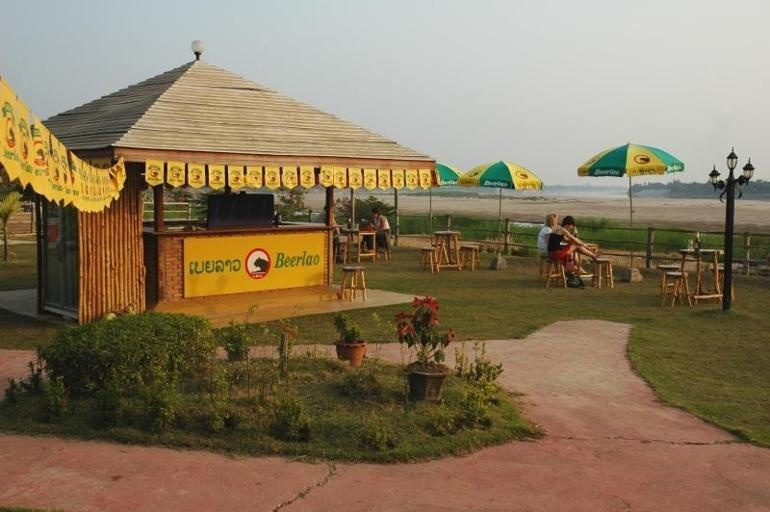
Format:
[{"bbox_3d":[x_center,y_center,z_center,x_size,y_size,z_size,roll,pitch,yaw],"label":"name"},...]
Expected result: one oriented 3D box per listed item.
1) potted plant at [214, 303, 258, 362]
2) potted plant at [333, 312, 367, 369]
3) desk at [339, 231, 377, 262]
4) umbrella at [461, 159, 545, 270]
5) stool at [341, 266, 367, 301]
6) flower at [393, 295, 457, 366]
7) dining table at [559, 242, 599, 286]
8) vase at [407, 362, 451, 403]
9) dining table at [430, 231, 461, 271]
[{"bbox_3d":[-2.656,1.436,16.633,0.526,0.976,0.432,16,-10,-36],"label":"potted plant"},{"bbox_3d":[-0.680,1.527,16.800,0.743,1.195,0.755,2,-6,-14],"label":"potted plant"},{"bbox_3d":[-0.881,0.019,30.658,0.827,1.119,1.629,-2,7,-17],"label":"desk"},{"bbox_3d":[4.063,-1.515,31.235,3.142,3.088,3.426,-1,5,-6],"label":"umbrella"},{"bbox_3d":[-0.731,0.679,22.881,0.558,0.691,0.598,2,-3,-26],"label":"stool"},{"bbox_3d":[0.718,1.303,15.788,0.789,1.184,1.044,0,7,23],"label":"flower"},{"bbox_3d":[5.330,0.214,25.816,1.094,1.569,0.976,-1,5,5],"label":"dining table"},{"bbox_3d":[0.705,2.053,15.329,0.526,0.478,0.601,-1,-1,29],"label":"vase"},{"bbox_3d":[2.009,-0.171,29.980,1.099,1.511,1.176,-1,6,21],"label":"dining table"}]
